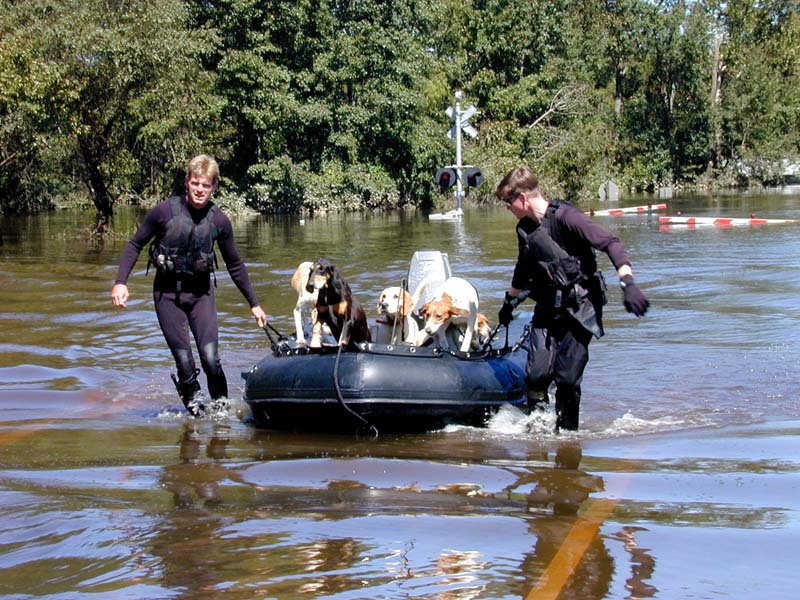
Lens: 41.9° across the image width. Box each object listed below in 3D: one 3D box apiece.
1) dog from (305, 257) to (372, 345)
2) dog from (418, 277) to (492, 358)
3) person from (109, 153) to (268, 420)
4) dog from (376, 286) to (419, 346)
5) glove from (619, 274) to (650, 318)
[{"bbox_3d":[-0.543,0.146,9.504,0.355,0.698,1.333,3,-10,20],"label":"dog"},{"bbox_3d":[0.450,0.185,9.617,0.409,0.499,0.922,18,41,5],"label":"dog"},{"bbox_3d":[-1.819,-0.117,9.209,1.190,2.349,1.108,-3,3,-7],"label":"person"},{"bbox_3d":[-0.105,0.198,10.148,0.324,0.484,1.006,-5,-13,-3],"label":"dog"},{"bbox_3d":[1.685,-0.034,7.952,0.119,0.321,0.198,-7,-33,-43],"label":"glove"}]
